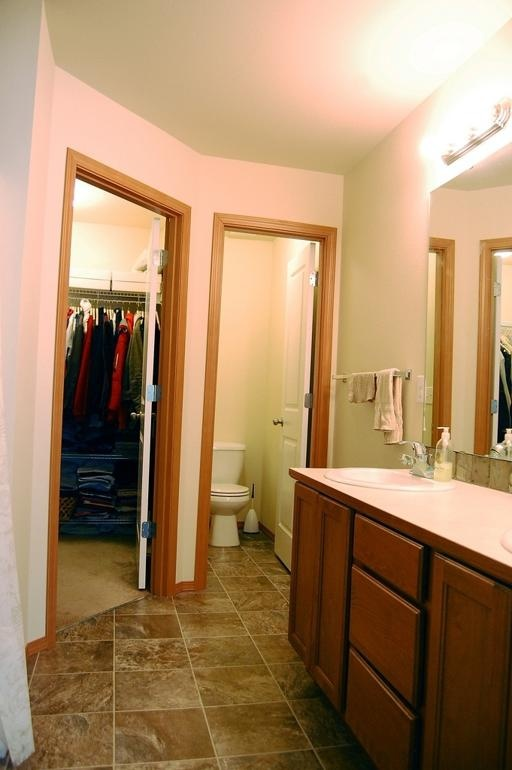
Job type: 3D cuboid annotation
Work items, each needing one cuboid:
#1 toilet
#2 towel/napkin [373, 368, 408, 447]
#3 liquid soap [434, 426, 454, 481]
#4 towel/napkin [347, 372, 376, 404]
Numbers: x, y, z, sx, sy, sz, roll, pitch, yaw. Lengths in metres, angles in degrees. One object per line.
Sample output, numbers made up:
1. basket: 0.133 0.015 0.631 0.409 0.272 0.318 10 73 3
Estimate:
1. toilet: -0.194 0.771 3.780 0.255 0.694 0.394 2 -3 -5
2. towel/napkin: 0.549 0.089 2.217 0.112 0.297 0.199 3 -3 -18
3. liquid soap: 0.619 0.223 1.770 0.052 0.168 0.234 1 -4 21
4. towel/napkin: 0.486 0.016 2.397 0.039 0.129 0.108 7 -4 -40
